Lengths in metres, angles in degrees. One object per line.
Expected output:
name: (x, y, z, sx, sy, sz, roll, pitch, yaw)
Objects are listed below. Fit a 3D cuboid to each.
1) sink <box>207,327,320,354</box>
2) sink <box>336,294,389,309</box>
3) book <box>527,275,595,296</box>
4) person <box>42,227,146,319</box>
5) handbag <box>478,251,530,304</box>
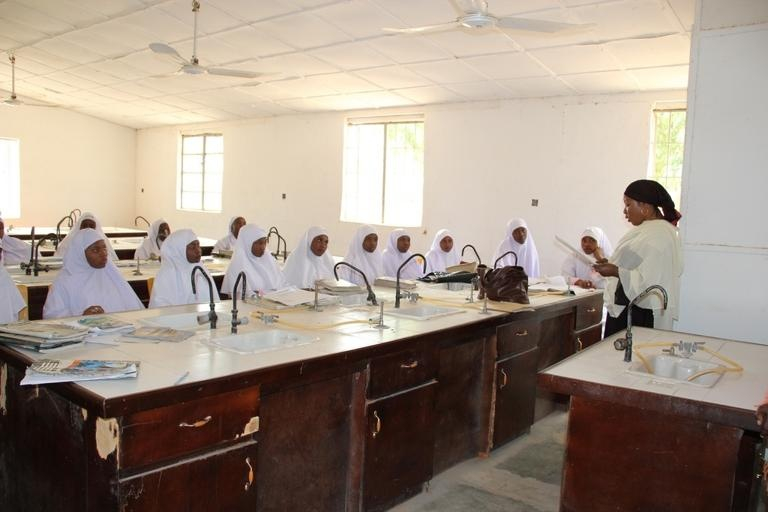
sink: (-0.685, 0.502, 3.103, 0.592, 0.096, 0.388, -5, 7, -35)
sink: (-0.187, 0.341, 4.210, 0.214, 0.079, 0.158, 2, 2, -30)
book: (1.598, 0.289, 5.078, 0.316, 0.080, 0.336, -4, 6, -39)
person: (-2.535, 0.154, 4.702, 0.525, 0.780, 0.894, 0, 6, 29)
handbag: (0.983, 0.164, 4.458, 0.468, 0.457, 0.353, 2, 1, 42)
